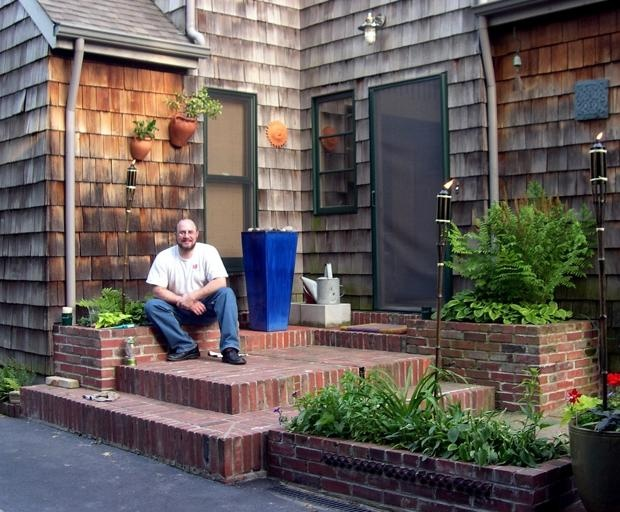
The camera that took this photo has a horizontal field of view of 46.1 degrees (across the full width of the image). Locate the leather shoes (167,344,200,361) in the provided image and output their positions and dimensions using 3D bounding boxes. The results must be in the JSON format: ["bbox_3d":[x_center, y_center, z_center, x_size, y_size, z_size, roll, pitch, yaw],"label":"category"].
[{"bbox_3d":[-1.197,0.903,6.888,0.306,0.175,0.121,6,-6,-35],"label":"leather shoes"}]

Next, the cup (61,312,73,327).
[{"bbox_3d":[-2.449,0.636,7.285,0.099,0.134,0.099,1,-2,0],"label":"cup"}]

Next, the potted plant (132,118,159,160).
[{"bbox_3d":[-1.844,-1.267,7.947,0.269,0.428,0.169,-1,0,-17],"label":"potted plant"}]

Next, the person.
[{"bbox_3d":[-1.104,0.315,6.920,1.098,1.445,0.881,-6,-8,35],"label":"person"}]

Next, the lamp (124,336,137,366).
[{"bbox_3d":[-1.662,0.858,6.655,0.104,0.241,0.251,-1,0,-15],"label":"lamp"}]

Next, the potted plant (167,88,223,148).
[{"bbox_3d":[-1.359,-1.587,8.376,0.336,0.639,0.626,-1,0,28],"label":"potted plant"}]

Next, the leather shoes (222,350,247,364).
[{"bbox_3d":[-0.703,0.907,6.658,0.095,0.147,0.267,-3,-3,-34],"label":"leather shoes"}]
